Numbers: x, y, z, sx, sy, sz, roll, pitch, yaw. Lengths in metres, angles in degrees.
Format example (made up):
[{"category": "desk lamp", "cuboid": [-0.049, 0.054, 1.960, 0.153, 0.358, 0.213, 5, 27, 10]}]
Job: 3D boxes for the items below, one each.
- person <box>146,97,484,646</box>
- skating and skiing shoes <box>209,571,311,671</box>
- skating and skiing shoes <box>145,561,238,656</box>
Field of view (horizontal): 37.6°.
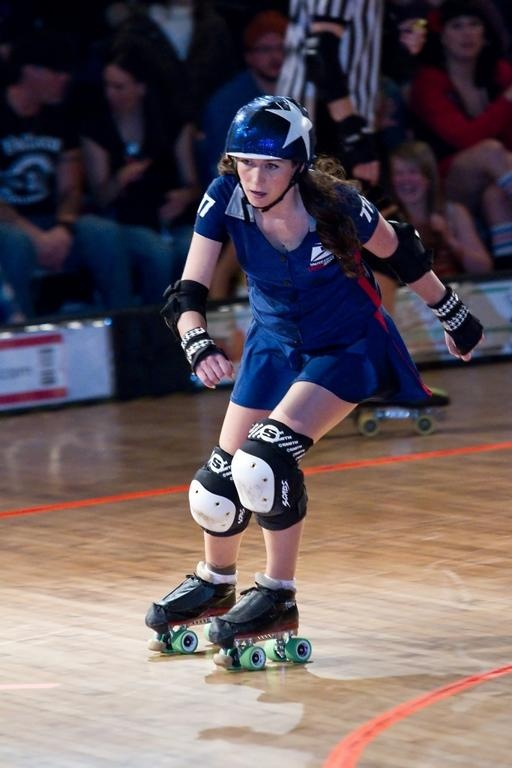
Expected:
[{"category": "person", "cuboid": [0.120, -0.091, 2.086, 0.753, 1.403, 0.845, 2, 6, 40]}, {"category": "skating and skiing shoes", "cuboid": [0.002, 0.614, 1.915, 0.293, 0.190, 0.145, 8, -13, -41]}, {"category": "skating and skiing shoes", "cuboid": [-0.180, 0.625, 2.120, 0.354, 0.192, 0.114, -7, 1, -45]}]
